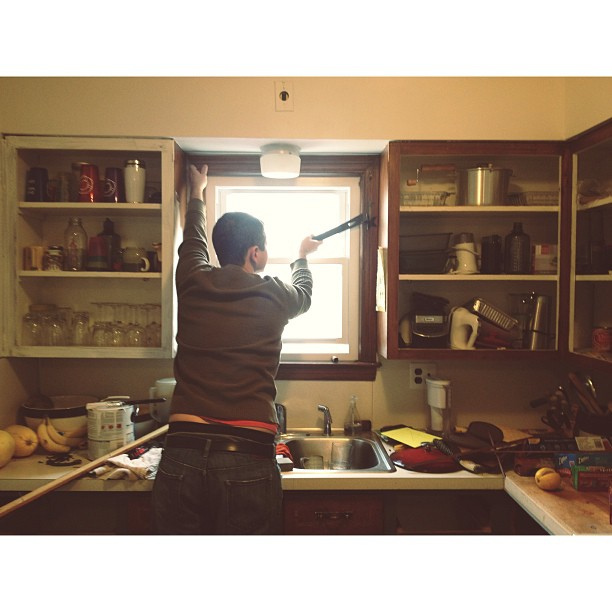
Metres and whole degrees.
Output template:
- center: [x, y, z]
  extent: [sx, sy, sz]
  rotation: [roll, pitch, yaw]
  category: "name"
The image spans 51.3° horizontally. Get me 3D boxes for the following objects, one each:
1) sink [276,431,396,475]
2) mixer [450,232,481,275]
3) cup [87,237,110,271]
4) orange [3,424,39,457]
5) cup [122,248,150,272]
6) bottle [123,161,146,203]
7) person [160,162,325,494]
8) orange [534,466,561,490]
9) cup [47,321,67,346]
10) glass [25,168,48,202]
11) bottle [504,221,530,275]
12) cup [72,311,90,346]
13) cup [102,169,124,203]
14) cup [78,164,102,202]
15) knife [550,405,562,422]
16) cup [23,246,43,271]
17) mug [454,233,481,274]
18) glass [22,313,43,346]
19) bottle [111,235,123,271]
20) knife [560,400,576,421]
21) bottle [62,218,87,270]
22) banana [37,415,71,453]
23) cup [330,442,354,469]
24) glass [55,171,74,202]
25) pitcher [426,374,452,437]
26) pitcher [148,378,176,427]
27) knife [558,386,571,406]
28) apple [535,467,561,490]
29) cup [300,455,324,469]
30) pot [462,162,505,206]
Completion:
- center: [0.149, 0.628, 2.725]
  extent: [0.333, 0.197, 0.224]
  rotation: [0, -4, -1]
  category: "sink"
- center: [0.713, -0.230, 2.773]
  extent: [0.153, 0.139, 0.127]
  rotation: [-2, -1, -10]
  category: "mixer"
- center: [-0.895, -0.227, 2.758]
  extent: [0.096, 0.146, 0.054]
  rotation: [-2, 5, -26]
  category: "cup"
- center: [-1.172, 0.560, 2.623]
  extent: [0.131, 0.132, 0.133]
  rotation: [-4, 6, -36]
  category: "orange"
- center: [-0.736, -0.198, 2.802]
  extent: [0.138, 0.080, 0.080]
  rotation: [1, 3, 3]
  category: "cup"
- center: [-0.735, -0.534, 2.726]
  extent: [0.083, 0.179, 0.050]
  rotation: [-1, 5, -9]
  category: "bottle"
- center: [-0.251, 0.157, 2.385]
  extent: [0.532, 0.982, 0.399]
  rotation: [0, 5, 0]
  category: "person"
- center: [0.918, 0.647, 2.396]
  extent: [0.092, 0.042, 0.064]
  rotation: [-2, 9, -26]
  category: "orange"
- center: [-1.087, 0.118, 2.792]
  extent: [0.086, 0.102, 0.061]
  rotation: [-4, 6, -37]
  category: "cup"
- center: [-1.170, -0.525, 2.749]
  extent: [0.093, 0.140, 0.049]
  rotation: [-1, 5, -13]
  category: "glass"
- center: [0.912, -0.247, 2.738]
  extent: [0.100, 0.220, 0.059]
  rotation: [3, 6, 35]
  category: "bottle"
- center: [-1.000, 0.100, 2.835]
  extent: [0.071, 0.136, 0.150]
  rotation: [-2, 5, -19]
  category: "cup"
- center: [-0.827, -0.518, 2.732]
  extent: [0.085, 0.148, 0.056]
  rotation: [-2, 5, -15]
  category: "cup"
- center: [-0.937, -0.528, 2.743]
  extent: [0.106, 0.155, 0.060]
  rotation: [-1, 5, -4]
  category: "cup"
- center: [1.105, 0.471, 2.800]
  extent: [0.021, 0.066, 0.051]
  rotation: [-14, -15, -28]
  category: "knife"
- center: [-1.184, -0.208, 2.761]
  extent: [0.080, 0.101, 0.046]
  rotation: [-2, 5, -17]
  category: "cup"
- center: [0.695, -0.227, 2.738]
  extent: [0.108, 0.172, 0.068]
  rotation: [1, 5, 11]
  category: "mug"
- center: [-1.191, 0.098, 2.767]
  extent: [0.085, 0.134, 0.031]
  rotation: [-2, 5, -22]
  category: "glass"
- center: [-0.834, -0.236, 2.805]
  extent: [0.045, 0.156, 0.119]
  rotation: [-2, 5, -17]
  category: "bottle"
- center: [1.138, 0.451, 2.743]
  extent: [0.026, 0.077, 0.082]
  rotation: [-1, 5, -14]
  category: "knife"
- center: [-1.014, -0.274, 2.788]
  extent: [0.102, 0.224, 0.069]
  rotation: [-2, 5, -18]
  category: "bottle"
- center: [-1.060, 0.528, 2.748]
  extent: [0.132, 0.057, 0.221]
  rotation: [-6, 8, 1]
  category: "banana"
- center: [0.161, 0.663, 2.822]
  extent: [0.143, 0.116, 0.087]
  rotation: [4, -7, -28]
  category: "cup"
- center: [-1.049, -0.516, 2.760]
  extent: [0.075, 0.124, 0.035]
  rotation: [-2, 5, -15]
  category: "glass"
- center: [0.608, 0.446, 2.896]
  extent: [0.120, 0.250, 0.190]
  rotation: [1, 5, 11]
  category: "pitcher"
- center: [-0.636, 0.417, 2.815]
  extent: [0.107, 0.203, 0.230]
  rotation: [-1, 5, -14]
  category: "pitcher"
- center: [1.140, 0.400, 2.800]
  extent: [0.018, 0.068, 0.053]
  rotation: [-33, -10, 17]
  category: "knife"
- center: [0.911, 0.648, 2.403]
  extent: [0.082, 0.064, 0.106]
  rotation: [0, 5, -2]
  category: "apple"
- center: [0.029, 0.688, 2.801]
  extent: [0.093, 0.074, 0.049]
  rotation: [0, -9, -5]
  category: "cup"
- center: [0.753, -0.520, 2.705]
  extent: [0.169, 0.165, 0.147]
  rotation: [2, 7, 10]
  category: "pot"
